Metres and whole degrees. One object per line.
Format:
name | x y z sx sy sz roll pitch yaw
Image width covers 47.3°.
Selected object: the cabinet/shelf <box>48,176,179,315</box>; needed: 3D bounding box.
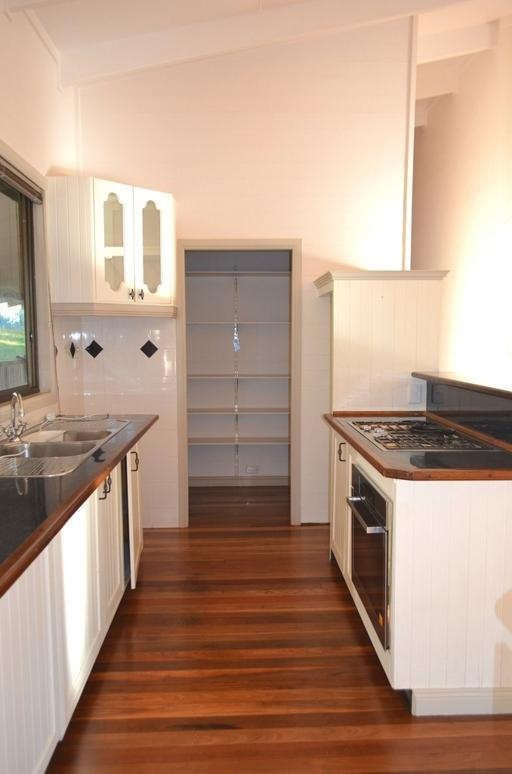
cabinet/shelf | -0.775 -0.759 3.392 0.293 0.724 0.797 4 7 40
